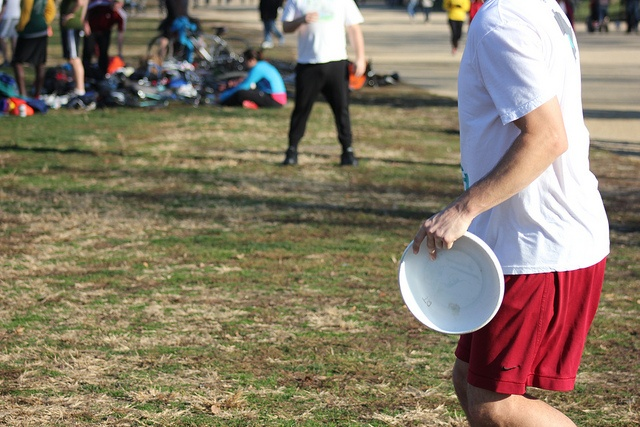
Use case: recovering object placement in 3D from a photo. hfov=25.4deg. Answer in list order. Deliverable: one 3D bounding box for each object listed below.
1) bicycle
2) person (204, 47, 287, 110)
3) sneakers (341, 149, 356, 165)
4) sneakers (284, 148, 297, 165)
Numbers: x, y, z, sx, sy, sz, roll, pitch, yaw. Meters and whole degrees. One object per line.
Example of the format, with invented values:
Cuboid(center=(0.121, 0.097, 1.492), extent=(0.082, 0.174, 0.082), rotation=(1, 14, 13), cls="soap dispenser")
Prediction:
Cuboid(center=(-2.518, -3.344, 27.857), extent=(2.011, 1.141, 0.982), rotation=(1, 0, -3), cls="bicycle")
Cuboid(center=(-1.165, -2.358, 24.869), extent=(1.088, 1.099, 1.112), rotation=(2, 13, 1), cls="person")
Cuboid(center=(0.432, -0.827, 21.631), extent=(0.201, 0.250, 0.228), rotation=(1, 26, -8), cls="sneakers")
Cuboid(center=(-0.443, -0.832, 21.522), extent=(0.152, 0.266, 0.099), rotation=(3, -21, 1), cls="sneakers")
